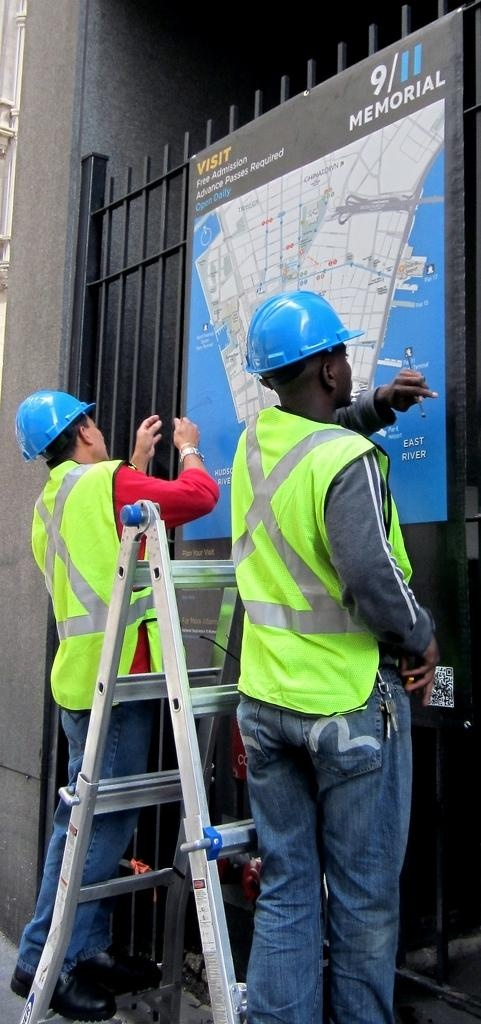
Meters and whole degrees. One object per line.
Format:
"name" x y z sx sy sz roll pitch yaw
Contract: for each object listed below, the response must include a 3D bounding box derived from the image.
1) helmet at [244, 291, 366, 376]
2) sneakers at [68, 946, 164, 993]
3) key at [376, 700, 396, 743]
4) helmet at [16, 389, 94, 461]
"helmet" 0.134 -0.387 1.991 0.201 0.118 0.169 -31 18 -19
"sneakers" -0.342 1.287 2.576 0.277 0.143 0.102 6 5 -13
"key" 0.276 0.409 1.768 0.022 0.064 0.040 3 -34 -12
"helmet" -0.596 -0.282 2.864 0.227 0.124 0.175 -55 11 -34
